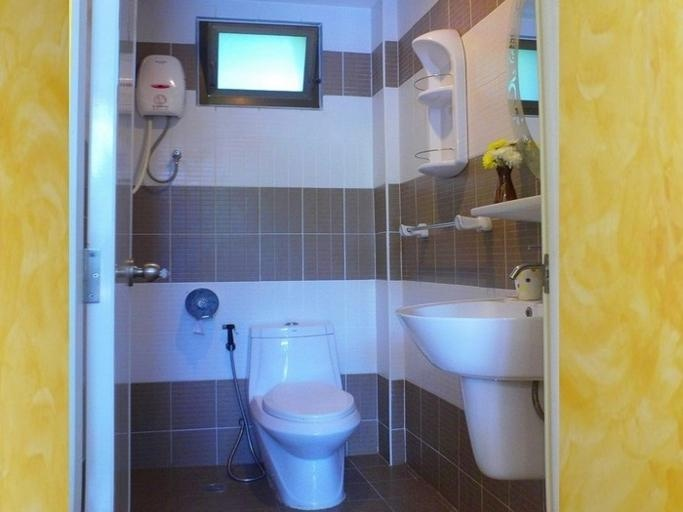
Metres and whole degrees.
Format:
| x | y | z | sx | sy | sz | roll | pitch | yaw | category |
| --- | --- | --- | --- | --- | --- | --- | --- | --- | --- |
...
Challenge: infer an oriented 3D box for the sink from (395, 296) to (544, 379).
| x | y | z | sx | sy | sz | roll | pitch | yaw | category |
| --- | --- | --- | --- | --- | --- | --- | --- | --- | --- |
| 0.409 | 0.277 | 1.991 | 0.443 | 0.239 | 0.422 | -3 | 5 | 7 | sink |

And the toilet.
| x | y | z | sx | sy | sz | roll | pitch | yaw | category |
| --- | --- | --- | --- | --- | --- | --- | --- | --- | --- |
| -0.196 | 0.707 | 2.904 | 0.440 | 0.767 | 0.782 | -1 | -5 | -10 | toilet |

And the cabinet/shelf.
| x | y | z | sx | sy | sz | roll | pitch | yaw | category |
| --- | --- | --- | --- | --- | --- | --- | --- | --- | --- |
| 0.421 | -0.676 | 2.828 | 0.204 | 0.650 | 0.413 | -3 | 4 | -7 | cabinet/shelf |

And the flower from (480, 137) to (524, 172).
| x | y | z | sx | sy | sz | roll | pitch | yaw | category |
| --- | --- | --- | --- | --- | --- | --- | --- | --- | --- |
| 0.566 | -0.354 | 2.208 | 0.100 | 0.120 | 0.110 | -1 | 5 | -3 | flower |
